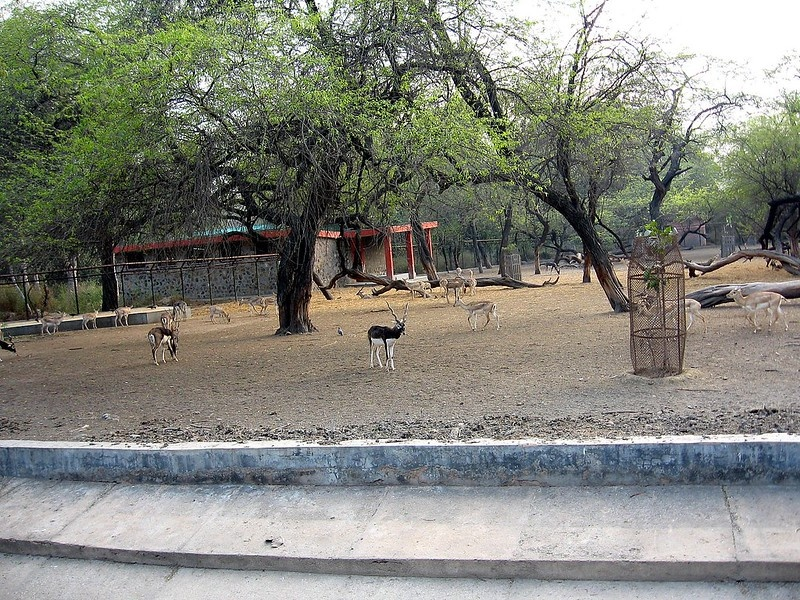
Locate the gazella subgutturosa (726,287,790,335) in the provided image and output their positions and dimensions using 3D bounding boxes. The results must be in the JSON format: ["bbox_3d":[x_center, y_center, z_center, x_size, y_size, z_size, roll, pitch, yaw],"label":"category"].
[{"bbox_3d":[8.685,0.180,16.930,1.096,0.887,2.739,-2,6,28],"label":"gazella subgutturosa"}]

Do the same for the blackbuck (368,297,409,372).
[{"bbox_3d":[-0.262,0.734,14.344,0.525,1.361,1.207,2,-2,-37],"label":"blackbuck"}]

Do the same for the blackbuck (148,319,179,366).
[{"bbox_3d":[-5.834,1.027,17.407,0.327,1.022,1.390,-3,-2,10],"label":"blackbuck"}]
